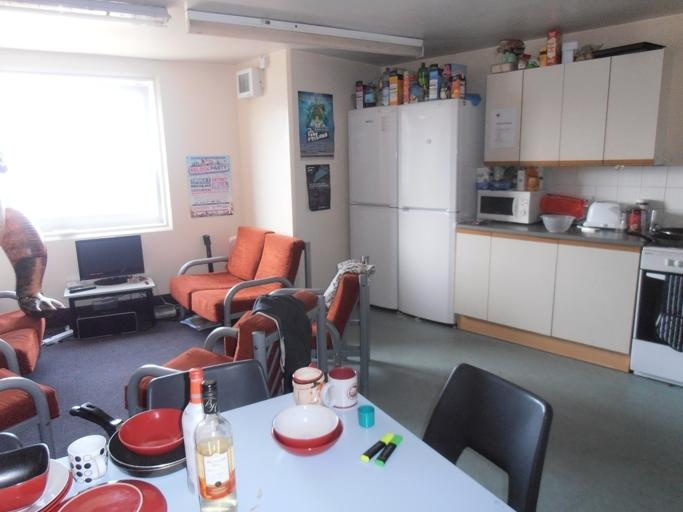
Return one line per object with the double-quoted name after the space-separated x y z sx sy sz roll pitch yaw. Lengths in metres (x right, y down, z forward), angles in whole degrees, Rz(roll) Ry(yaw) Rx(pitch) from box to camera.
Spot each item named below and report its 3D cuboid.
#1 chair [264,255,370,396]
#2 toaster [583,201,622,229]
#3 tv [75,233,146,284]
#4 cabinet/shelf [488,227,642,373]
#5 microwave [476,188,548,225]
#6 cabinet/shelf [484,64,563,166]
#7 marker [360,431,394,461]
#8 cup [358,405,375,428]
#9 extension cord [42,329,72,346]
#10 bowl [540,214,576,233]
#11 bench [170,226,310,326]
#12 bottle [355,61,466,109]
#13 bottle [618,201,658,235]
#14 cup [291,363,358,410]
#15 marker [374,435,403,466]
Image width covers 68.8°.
-0.035 0.483 4.066 0.874 1.148 0.805 0 3 7 "chair"
2.212 -0.337 4.192 0.221 0.178 0.249 -10 14 -41 "toaster"
-2.397 0.041 5.139 0.483 0.342 0.127 -6 12 -22 "tv"
1.802 0.262 4.192 0.271 0.864 1.187 -13 17 -39 "cabinet/shelf"
1.552 -0.453 4.669 0.348 0.307 0.497 -6 10 -36 "microwave"
1.663 -1.262 4.470 0.305 0.955 0.831 -12 16 -42 "cabinet/shelf"
0.141 0.754 1.967 0.054 0.031 0.168 4 19 36 "marker"
0.108 0.668 2.084 0.074 0.082 0.082 1 4 36 "cup"
-2.723 0.790 4.809 0.077 0.087 0.329 -17 11 15 "extension cord"
1.826 -0.281 4.268 0.192 0.087 0.197 0 7 0 "bowl"
-1.054 0.180 4.973 1.002 0.744 1.397 -8 15 -29 "bench"
0.701 -1.682 4.960 1.257 0.371 0.300 11 18 42 "bottle"
2.432 -0.307 4.066 0.263 0.235 0.487 7 16 32 "bottle"
-0.066 0.569 2.186 0.148 0.137 0.278 8 11 44 "cup"
0.186 0.758 1.954 0.045 0.029 0.154 15 23 29 "marker"
